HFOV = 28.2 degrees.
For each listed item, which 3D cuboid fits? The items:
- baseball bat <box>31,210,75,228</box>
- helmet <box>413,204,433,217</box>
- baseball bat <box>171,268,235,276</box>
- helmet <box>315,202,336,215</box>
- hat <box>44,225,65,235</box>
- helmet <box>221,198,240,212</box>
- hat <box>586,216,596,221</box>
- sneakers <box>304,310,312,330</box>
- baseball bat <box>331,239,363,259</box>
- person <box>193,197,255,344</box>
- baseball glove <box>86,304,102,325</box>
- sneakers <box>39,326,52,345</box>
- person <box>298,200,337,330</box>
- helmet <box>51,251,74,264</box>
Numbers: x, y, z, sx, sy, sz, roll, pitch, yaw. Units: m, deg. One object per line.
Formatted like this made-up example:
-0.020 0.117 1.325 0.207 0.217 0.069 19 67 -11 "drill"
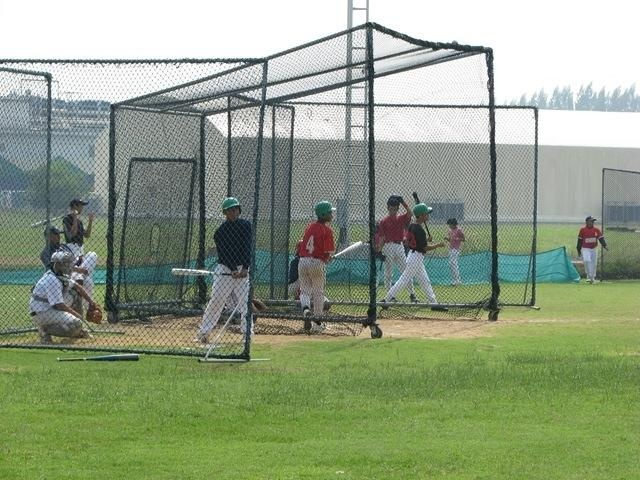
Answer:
-4.181 -0.350 20.067 0.623 0.110 0.070 -21 19 -14 "baseball bat"
1.762 -0.538 21.820 0.274 0.169 0.215 -7 11 -17 "helmet"
-1.746 0.474 19.056 0.828 0.105 0.147 3 3 -6 "baseball bat"
0.092 -0.466 19.786 0.252 0.151 0.200 -10 11 -8 "helmet"
-3.929 -0.153 19.039 0.302 0.134 0.225 -1 1 -11 "hat"
-1.329 -0.557 18.763 0.181 0.141 0.269 -9 -10 -15 "helmet"
7.037 -0.589 33.307 0.221 0.152 0.329 2 -2 -13 "hat"
-0.182 1.230 19.702 0.095 0.355 0.138 -5 22 -5 "sneakers"
0.456 0.145 22.332 0.674 0.105 0.128 -28 -1 42 "baseball bat"
-1.381 0.505 18.555 0.802 2.116 1.067 -1 12 -6 "person"
-3.269 1.077 18.730 0.263 0.305 0.183 2 3 0 "baseball glove"
-3.942 1.392 18.467 0.183 0.223 0.383 -3 13 -13 "sneakers"
-0.057 0.470 19.779 0.542 2.088 1.307 0 12 -2 "person"
-3.723 0.248 18.515 0.218 0.116 0.164 -3 4 -10 "helmet"
